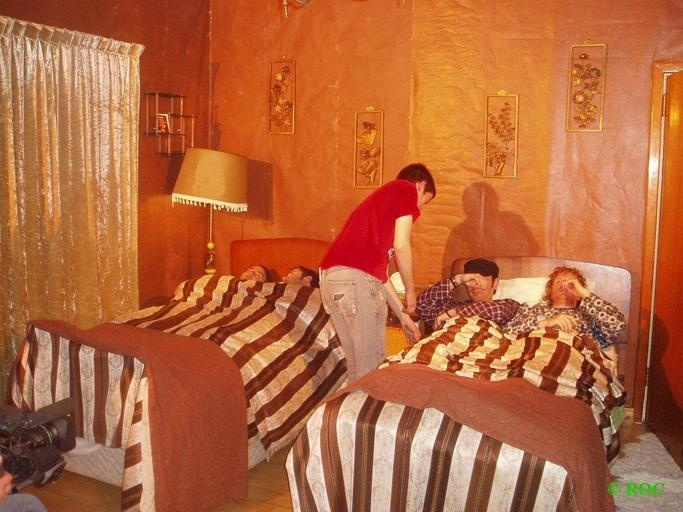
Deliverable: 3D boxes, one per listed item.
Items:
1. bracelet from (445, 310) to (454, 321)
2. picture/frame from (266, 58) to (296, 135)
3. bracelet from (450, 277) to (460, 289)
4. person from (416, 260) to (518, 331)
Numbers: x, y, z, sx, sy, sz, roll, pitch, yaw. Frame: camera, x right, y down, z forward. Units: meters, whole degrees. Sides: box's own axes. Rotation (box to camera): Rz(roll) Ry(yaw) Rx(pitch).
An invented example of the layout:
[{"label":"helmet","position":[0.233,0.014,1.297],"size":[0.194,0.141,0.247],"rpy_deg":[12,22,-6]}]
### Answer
[{"label":"bracelet","position":[0.847,0.470,4.688],"size":[0.057,0.062,0.060],"rpy_deg":[0,1,-23]},{"label":"picture/frame","position":[-0.575,-1.541,5.805],"size":[0.279,0.686,0.053],"rpy_deg":[6,7,28]},{"label":"bracelet","position":[0.904,0.209,4.736],"size":[0.072,0.086,0.033],"rpy_deg":[0,-26,-19]},{"label":"person","position":[1.007,0.335,4.740],"size":[0.706,0.322,0.530],"rpy_deg":[-14,16,-33]}]
